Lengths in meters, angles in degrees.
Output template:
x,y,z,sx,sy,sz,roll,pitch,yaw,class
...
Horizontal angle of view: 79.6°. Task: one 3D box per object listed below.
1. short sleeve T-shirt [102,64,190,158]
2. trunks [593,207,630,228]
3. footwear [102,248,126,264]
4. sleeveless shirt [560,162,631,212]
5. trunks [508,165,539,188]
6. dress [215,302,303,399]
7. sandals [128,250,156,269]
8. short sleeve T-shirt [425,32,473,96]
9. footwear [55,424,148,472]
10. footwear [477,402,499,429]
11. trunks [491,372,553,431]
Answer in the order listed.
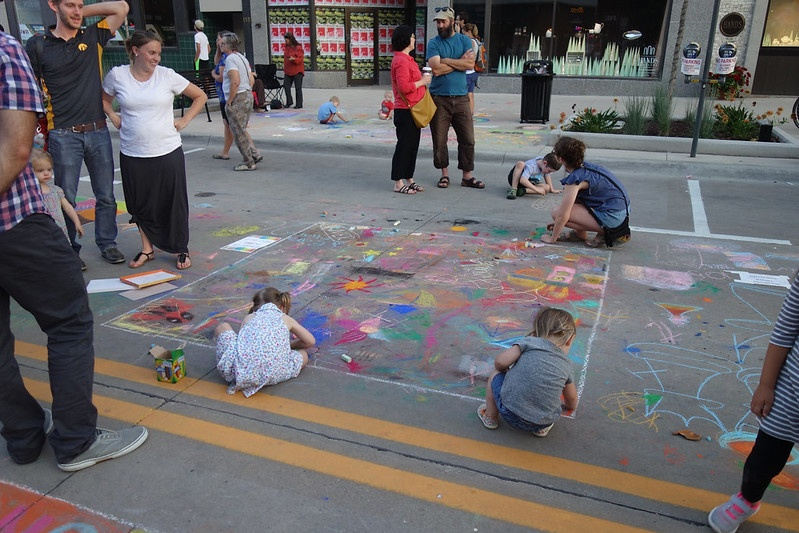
x,y,z,sx,sy,sz,roll,pitch,yaw,class
-2.701,-1.694,5.197,1.125,0.843,0.472,7,30,6,short sleeve T-shirt
2.461,-0.564,5.576,0.308,0.115,0.232,0,12,45,trunks
-3.272,-0.128,5.503,0.339,0.112,0.136,14,41,26,footwear
2.300,-0.921,5.847,0.806,0.608,0.775,-7,18,-8,sleeveless shirt
1.969,-1.469,7.735,0.446,0.360,0.160,7,31,-27,trunks
-1.073,0.595,3.716,0.749,0.422,0.665,-10,39,-20,dress
-2.932,-0.076,5.441,0.135,0.097,0.291,2,8,20,sandals
0.772,-3.254,7.739,0.830,0.892,0.458,-8,44,-10,short sleeve T-shirt
-1.853,1.118,3.061,0.492,0.147,0.190,-14,28,-39,footwear
0.613,1.043,3.329,0.090,0.057,0.165,-1,17,-3,footwear
0.764,0.909,3.248,0.403,0.360,0.159,-5,-17,8,trunks
